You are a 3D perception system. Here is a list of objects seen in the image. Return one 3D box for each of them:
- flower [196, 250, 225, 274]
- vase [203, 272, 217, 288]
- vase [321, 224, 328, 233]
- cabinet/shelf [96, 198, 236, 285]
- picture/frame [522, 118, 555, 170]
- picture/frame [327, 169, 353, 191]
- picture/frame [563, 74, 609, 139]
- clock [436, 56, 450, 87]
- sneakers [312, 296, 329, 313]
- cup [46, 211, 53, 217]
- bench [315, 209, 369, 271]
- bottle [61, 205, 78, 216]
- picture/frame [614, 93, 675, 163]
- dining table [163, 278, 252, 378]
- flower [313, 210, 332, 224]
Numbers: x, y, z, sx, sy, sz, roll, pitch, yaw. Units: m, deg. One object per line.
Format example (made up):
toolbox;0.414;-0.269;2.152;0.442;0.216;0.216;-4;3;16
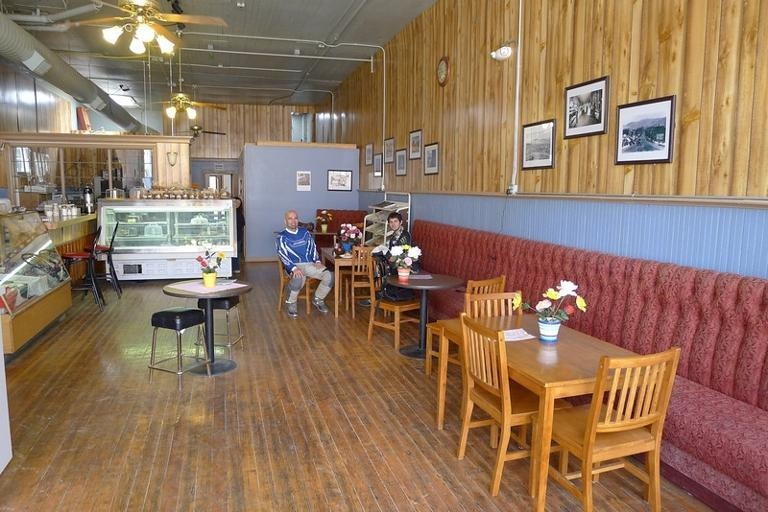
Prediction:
flower;-2.705;0.084;7.997;0.452;0.394;0.455;4;2;5
vase;-2.184;0.293;6.520;0.192;0.147;0.183;-4;11;-34
vase;-1.436;-0.648;12.399;0.203;0.184;0.204;0;-2;-3
cabinet/shelf;-4.294;-0.326;10.037;1.734;1.110;0.555;0;2;-8
picture/frame;2.042;-1.476;6.805;0.058;0.723;0.715;-1;5;-19
picture/frame;-1.240;-2.084;14.058;0.587;0.487;0.049;0;5;-14
picture/frame;2.400;-1.772;6.119;0.064;0.889;0.880;-2;3;-24
clock;1.038;-3.252;9.095;0.078;0.610;0.601;0;9;-13
sneakers;-1.065;0.838;8.814;0.387;0.169;0.141;26;25;36
cup;-5.846;-0.735;9.042;0.098;0.095;0.102;3;-1;0
bench;-1.184;-0.427;12.737;1.408;1.941;1.471;0;3;-10
bottle;-5.840;-0.837;9.606;0.232;0.169;0.230;2;3;0
picture/frame;2.779;-1.360;5.479;0.060;0.788;0.777;-2;6;-26
dining table;-2.024;0.863;6.690;1.189;1.221;1.114;0;3;4
flower;-1.515;-1.011;13.100;0.464;0.454;0.117;5;13;20
